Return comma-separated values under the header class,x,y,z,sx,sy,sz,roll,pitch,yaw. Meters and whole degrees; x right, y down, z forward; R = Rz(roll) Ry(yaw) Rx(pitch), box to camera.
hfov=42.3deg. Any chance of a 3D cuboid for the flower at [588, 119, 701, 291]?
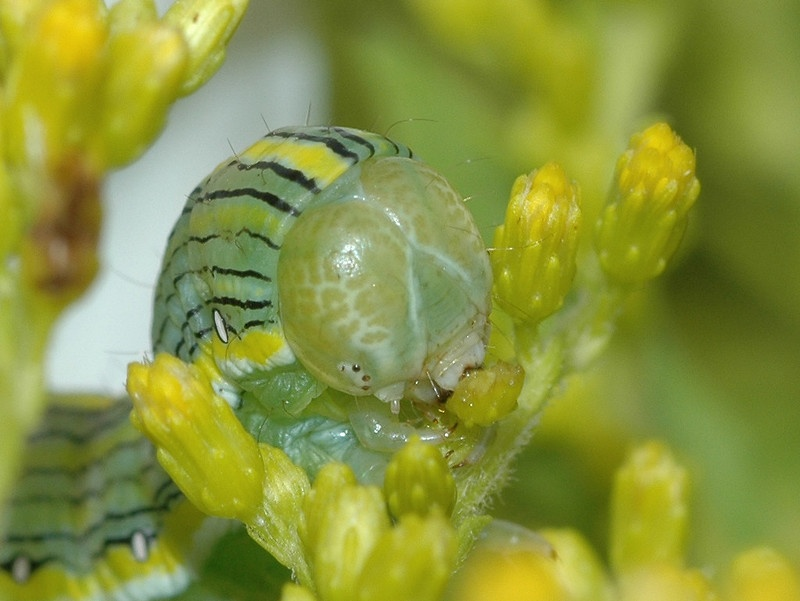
class,x,y,z,sx,sy,sz,roll,pitch,yaw
flower,0.236,-0.088,0.986,0.082,0.116,0.105,18,49,15
